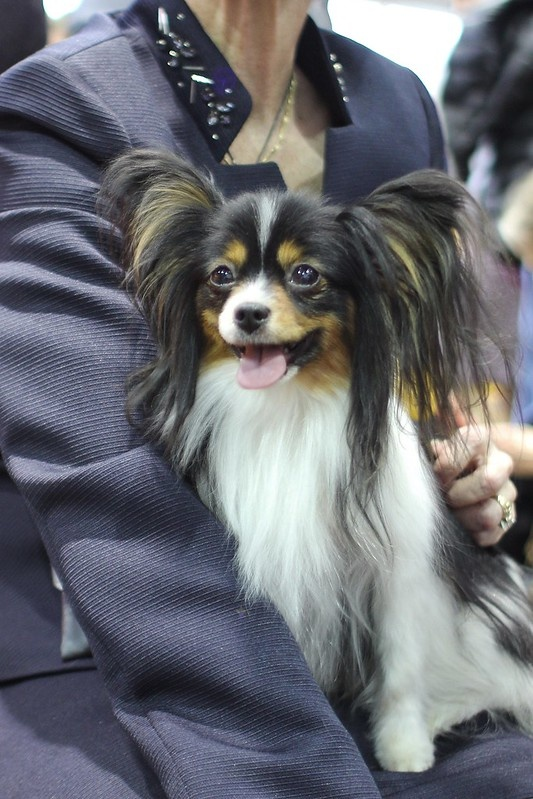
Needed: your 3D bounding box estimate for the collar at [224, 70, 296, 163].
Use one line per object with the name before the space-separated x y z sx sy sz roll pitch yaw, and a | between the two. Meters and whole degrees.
collar | 0.008 -0.559 1.629 0.082 0.066 0.335 21 59 -3
